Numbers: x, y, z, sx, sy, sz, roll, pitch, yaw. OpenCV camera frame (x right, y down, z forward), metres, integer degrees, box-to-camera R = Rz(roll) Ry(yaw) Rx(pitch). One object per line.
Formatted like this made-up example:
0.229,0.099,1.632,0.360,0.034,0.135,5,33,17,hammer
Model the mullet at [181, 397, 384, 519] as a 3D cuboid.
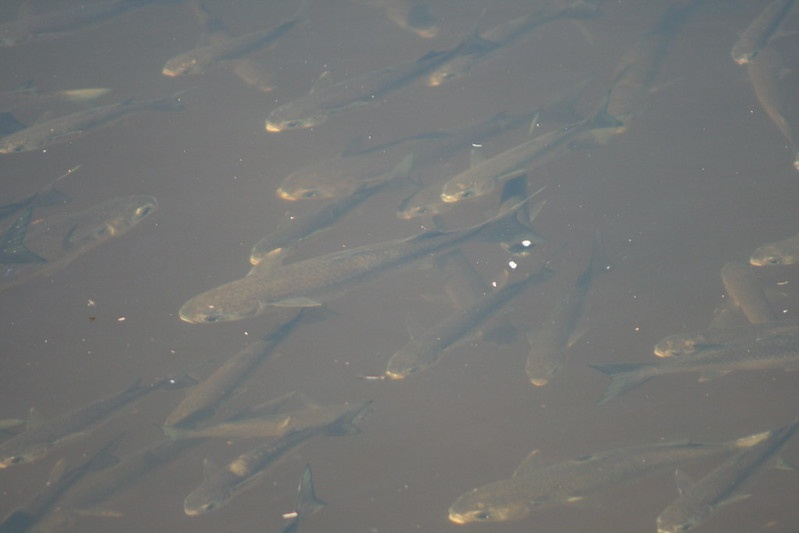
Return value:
-1.031,1.540,9.119,1.393,0.291,0.291,-28,-28,-10,mullet
